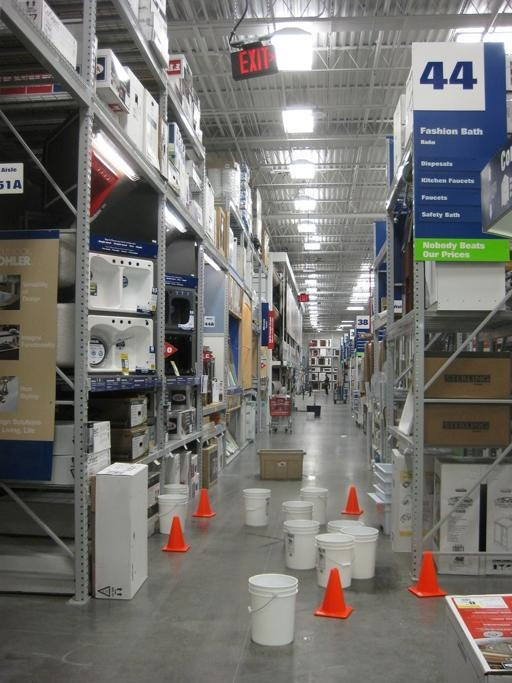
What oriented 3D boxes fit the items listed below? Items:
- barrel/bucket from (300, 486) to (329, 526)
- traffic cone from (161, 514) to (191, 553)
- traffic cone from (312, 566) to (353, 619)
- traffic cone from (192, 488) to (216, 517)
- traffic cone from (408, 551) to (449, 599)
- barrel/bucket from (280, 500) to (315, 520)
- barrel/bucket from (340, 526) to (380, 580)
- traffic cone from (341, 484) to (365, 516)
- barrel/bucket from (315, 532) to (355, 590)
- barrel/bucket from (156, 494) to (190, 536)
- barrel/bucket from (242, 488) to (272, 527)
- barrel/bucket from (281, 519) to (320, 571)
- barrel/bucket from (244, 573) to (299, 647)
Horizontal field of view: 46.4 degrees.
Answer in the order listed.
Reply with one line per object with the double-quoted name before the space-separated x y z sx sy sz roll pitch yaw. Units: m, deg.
"barrel/bucket" 0.506 1.349 4.999 0.256 0.327 0.270 0 1 0
"traffic cone" -0.565 1.365 4.285 0.182 0.293 0.200 0 -2 -1
"traffic cone" 0.380 1.256 3.079 0.209 0.329 0.228 3 -10 3
"traffic cone" -0.476 1.443 5.413 0.206 0.327 0.218 -1 0 -16
"traffic cone" 0.954 1.301 3.384 0.191 0.275 0.210 2 -5 -6
"barrel/bucket" 0.300 1.234 4.416 0.195 0.174 0.214 -2 1 0
"barrel/bucket" 0.660 1.316 3.766 0.226 0.296 0.260 0 0 -15
"traffic cone" 0.914 1.498 5.683 0.230 0.359 0.231 1 -5 6
"barrel/bucket" 0.475 1.258 3.492 0.213 0.307 0.263 1 6 29
"barrel/bucket" -0.653 1.326 4.650 0.245 0.319 0.286 -3 -8 17
"barrel/bucket" 0.009 1.414 5.109 0.239 0.290 0.231 0 -3 0
"barrel/bucket" 0.290 1.320 3.848 0.220 0.310 0.207 0 -6 0
"barrel/bucket" 0.071 1.206 2.737 0.231 0.249 0.245 0 -7 0
